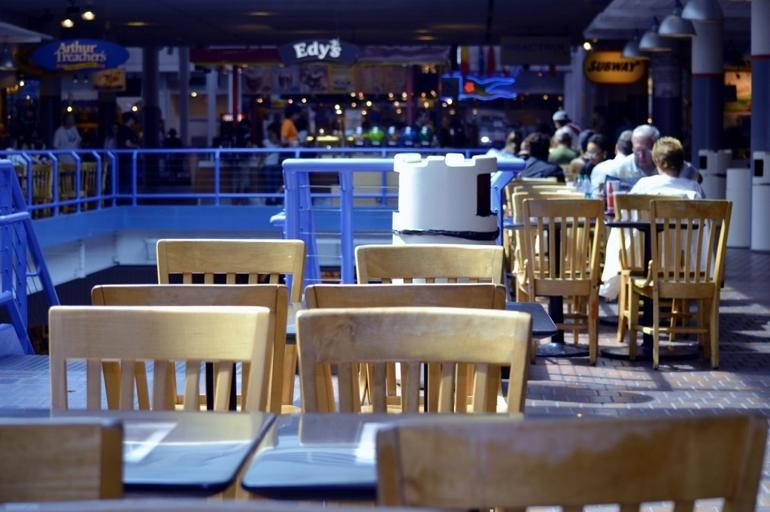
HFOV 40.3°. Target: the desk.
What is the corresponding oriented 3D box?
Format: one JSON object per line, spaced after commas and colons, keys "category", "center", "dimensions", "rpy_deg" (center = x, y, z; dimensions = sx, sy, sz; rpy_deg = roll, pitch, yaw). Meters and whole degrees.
{"category": "desk", "center": [-0.458, 0.674, 3.537], "dimensions": [0.978, 0.212, 0.430], "rpy_deg": [-1, 7, 4]}
